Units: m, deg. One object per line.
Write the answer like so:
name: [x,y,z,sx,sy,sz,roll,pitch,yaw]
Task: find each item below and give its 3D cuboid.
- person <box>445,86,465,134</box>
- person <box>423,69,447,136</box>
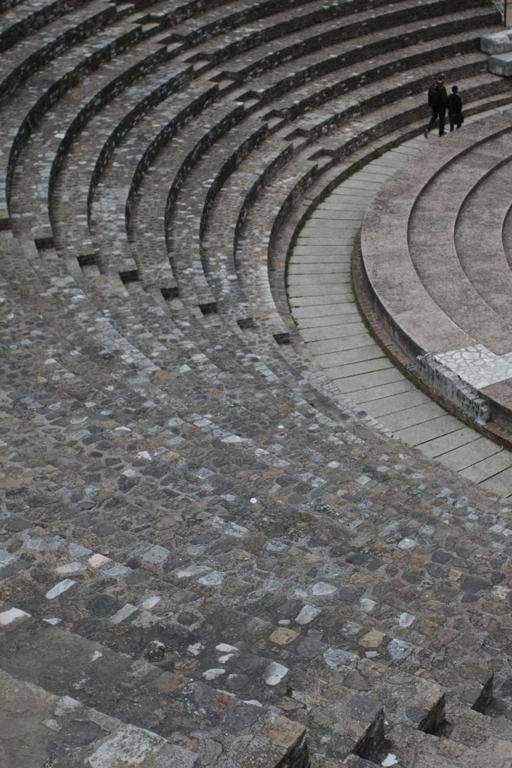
person: [3.468,-4.834,15.111,0.246,0.743,0.989,-1,14,13]
person: [3.189,-4.966,15.405,0.409,1.066,1.335,-1,14,11]
